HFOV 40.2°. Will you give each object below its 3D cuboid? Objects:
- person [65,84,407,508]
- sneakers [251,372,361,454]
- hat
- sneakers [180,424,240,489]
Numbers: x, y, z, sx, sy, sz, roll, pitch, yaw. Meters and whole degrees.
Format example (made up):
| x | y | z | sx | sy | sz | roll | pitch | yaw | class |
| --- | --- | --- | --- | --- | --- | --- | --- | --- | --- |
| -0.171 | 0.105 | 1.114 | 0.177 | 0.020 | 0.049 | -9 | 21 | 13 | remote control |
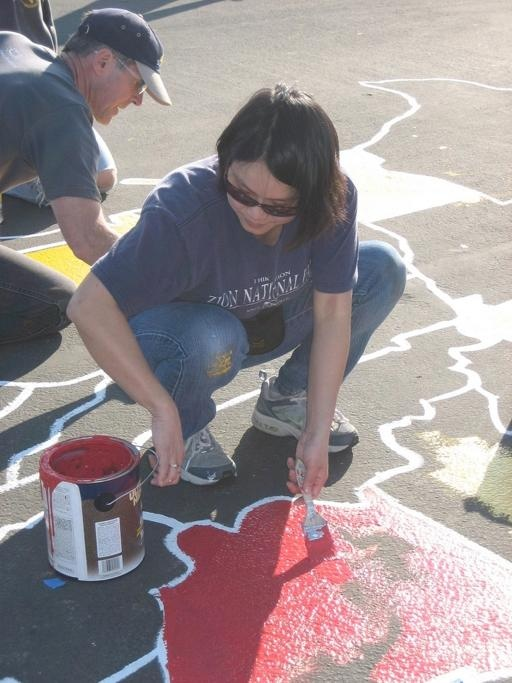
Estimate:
| x | y | z | sx | sy | sz | roll | pitch | yaw | class |
| --- | --- | --- | --- | --- | --- | --- | --- | --- | --- |
| -0.158 | -0.141 | 2.073 | 0.875 | 1.200 | 0.794 | 18 | 34 | 32 | person |
| 0.108 | 0.241 | 2.424 | 0.452 | 0.192 | 0.173 | 20 | 43 | 13 | sneakers |
| -0.430 | -1.062 | 2.640 | 0.424 | 0.229 | 0.253 | 29 | 17 | -23 | hat |
| -0.155 | 0.369 | 2.163 | 0.105 | 0.099 | 0.269 | -5 | 9 | -34 | sneakers |
